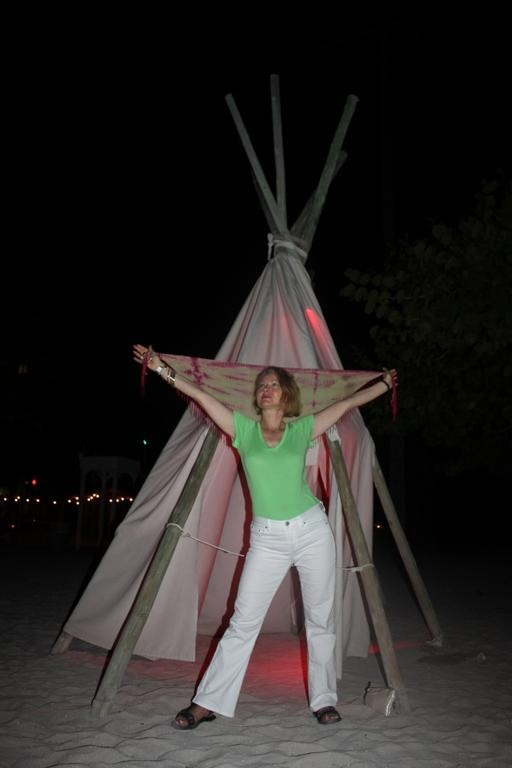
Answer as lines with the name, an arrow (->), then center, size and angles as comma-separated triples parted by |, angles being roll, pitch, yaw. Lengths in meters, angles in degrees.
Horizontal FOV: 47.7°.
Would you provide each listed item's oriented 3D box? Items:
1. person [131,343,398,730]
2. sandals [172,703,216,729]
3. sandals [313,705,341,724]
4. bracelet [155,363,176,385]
person -> 0.064, 0.840, 3.028 | 1.051, 1.862, 0.476 | -1, -3, 2
sandals -> -0.297, 1.674, 2.917 | 0.210, 0.072, 0.101 | 20, -22, -27
sandals -> 0.367, 1.694, 2.998 | 0.084, 0.056, 0.146 | 1, -14, -3
bracelet -> -0.481, -0.051, 3.152 | 0.052, 0.078, 0.128 | -29, 27, -23
